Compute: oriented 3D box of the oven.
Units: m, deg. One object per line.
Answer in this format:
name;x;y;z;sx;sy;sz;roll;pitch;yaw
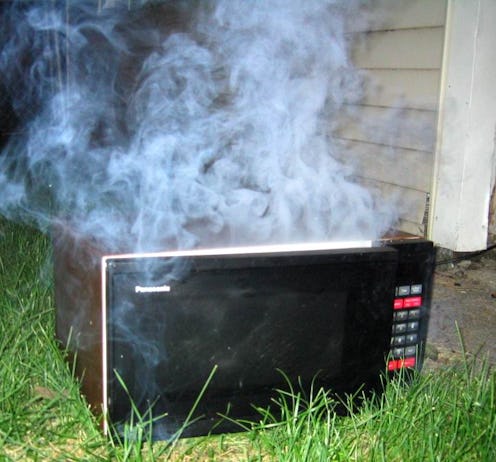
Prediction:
oven;-0.021;0.241;1.148;0.715;0.408;0.551;-1;6;-21
